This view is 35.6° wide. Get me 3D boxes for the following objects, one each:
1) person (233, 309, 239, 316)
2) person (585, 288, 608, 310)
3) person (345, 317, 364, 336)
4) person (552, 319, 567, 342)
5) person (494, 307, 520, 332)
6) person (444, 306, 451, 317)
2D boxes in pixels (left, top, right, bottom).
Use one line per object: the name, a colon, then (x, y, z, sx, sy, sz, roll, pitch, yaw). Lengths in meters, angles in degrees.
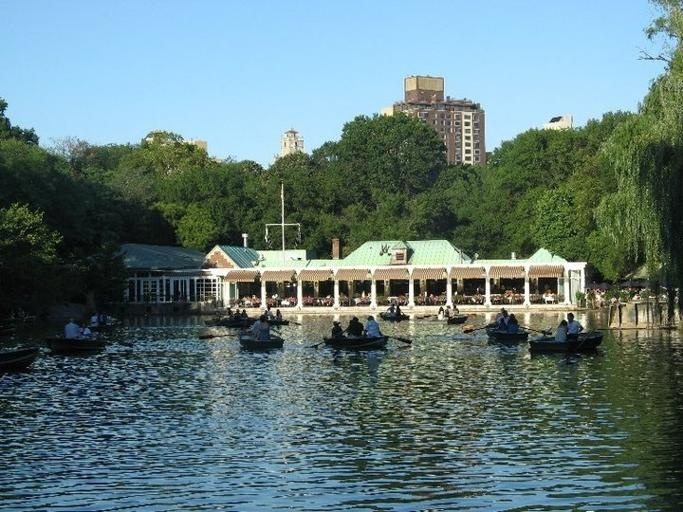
person: (-8.677, 4.950, 92.598, 0.534, 0.734, 1.139, -1, -4, 1)
person: (24.455, 4.124, 102.475, 1.577, 2.165, 1.112, 6, -9, -11)
person: (1.119, 4.791, 71.120, 1.388, 1.726, 0.991, 1, 14, 5)
person: (13.017, 4.462, 62.798, 0.717, 1.342, 1.503, -2, -8, 12)
person: (12.056, 4.677, 76.662, 1.082, 0.934, 2.580, 12, -20, 4)
person: (9.394, 4.857, 91.958, 0.659, 0.924, 0.507, 0, -3, -7)
